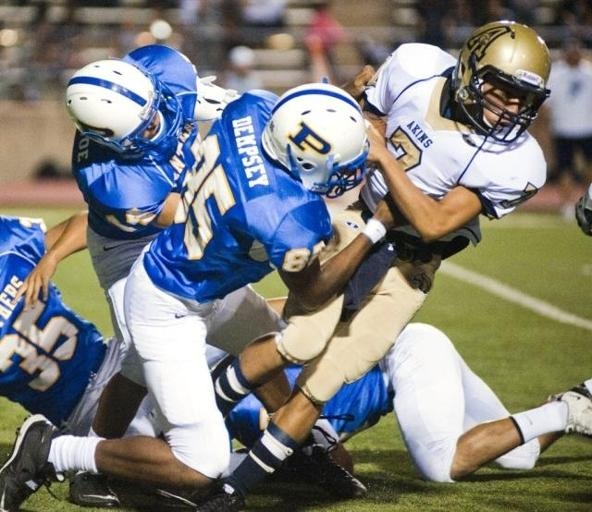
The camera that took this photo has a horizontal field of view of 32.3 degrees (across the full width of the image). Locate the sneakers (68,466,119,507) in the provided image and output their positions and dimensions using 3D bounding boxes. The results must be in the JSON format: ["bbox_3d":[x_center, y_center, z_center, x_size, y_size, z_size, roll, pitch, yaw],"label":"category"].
[{"bbox_3d":[-0.821,0.933,4.166,0.210,0.098,0.115,7,26,-16],"label":"sneakers"}]

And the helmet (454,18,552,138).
[{"bbox_3d":[0.832,-0.718,4.160,0.383,0.325,0.377,16,45,9],"label":"helmet"}]

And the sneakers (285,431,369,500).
[{"bbox_3d":[0.118,0.868,4.401,0.446,0.227,0.152,15,25,31],"label":"sneakers"}]
